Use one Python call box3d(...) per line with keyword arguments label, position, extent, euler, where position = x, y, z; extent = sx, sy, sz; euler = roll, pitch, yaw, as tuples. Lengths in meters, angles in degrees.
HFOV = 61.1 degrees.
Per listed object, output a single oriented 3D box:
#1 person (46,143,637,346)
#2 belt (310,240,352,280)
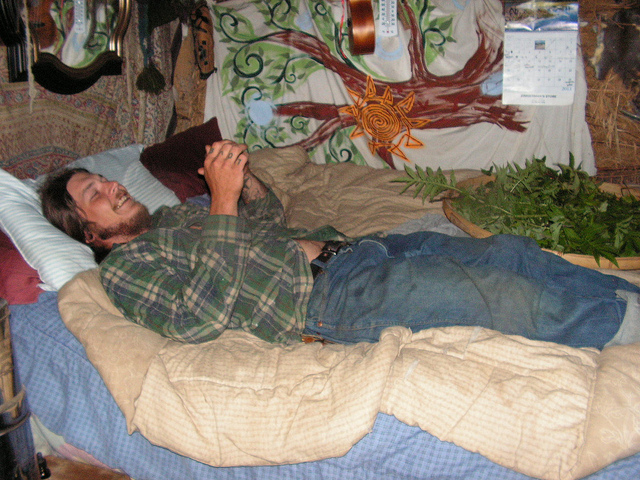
box3d(label="person", position=(-0.037, 0.120, 2.131), extent=(2.061, 0.737, 0.877), euler=(1, 27, 10))
box3d(label="belt", position=(0.037, 0.083, 2.083), extent=(0.146, 0.044, 0.107), euler=(-54, 30, -17))
